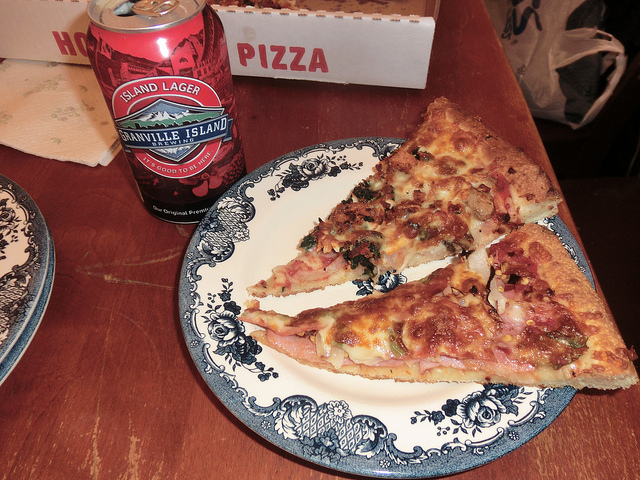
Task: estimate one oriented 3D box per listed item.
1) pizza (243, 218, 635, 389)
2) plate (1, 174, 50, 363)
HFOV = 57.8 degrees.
[{"bbox_3d":[0.292,0.137,1.434,0.845,0.107,0.416,3,55,3],"label":"pizza"},{"bbox_3d":[-0.708,0.044,1.367,0.147,0.029,0.516,-7,55,-4],"label":"plate"}]
